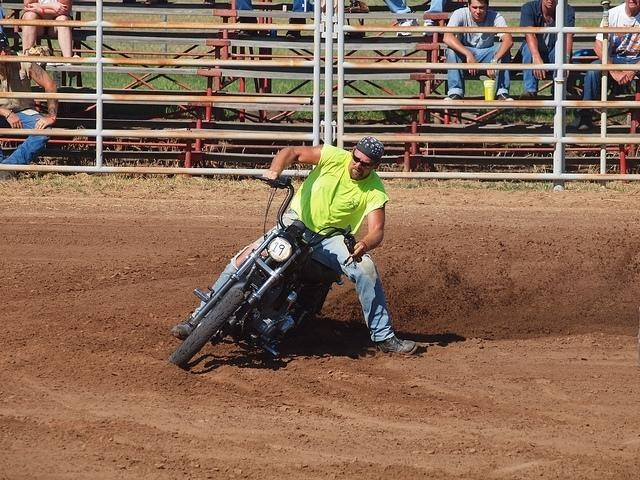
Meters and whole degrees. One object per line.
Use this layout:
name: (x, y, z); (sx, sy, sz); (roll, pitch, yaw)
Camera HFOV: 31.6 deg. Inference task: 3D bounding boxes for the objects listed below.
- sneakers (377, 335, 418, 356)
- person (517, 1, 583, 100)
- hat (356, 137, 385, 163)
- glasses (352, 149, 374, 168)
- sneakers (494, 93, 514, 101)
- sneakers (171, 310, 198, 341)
sneakers: (0.835, 1.097, 11.954); (0.401, 0.164, 0.184); (-3, 17, 0)
person: (3.367, -2.884, 16.846); (0.779, 1.479, 1.496); (4, 7, 11)
hat: (0.541, -0.901, 11.414); (0.214, 0.217, 0.284); (43, 11, 21)
glasses: (0.434, -0.809, 11.332); (0.186, 0.177, 0.059); (18, 34, 24)
sneakers: (2.740, -2.096, 16.546); (0.346, 0.124, 0.112); (6, 27, 17)
sneakers: (-1.350, 0.849, 11.476); (0.147, 0.211, 0.365); (10, 21, 27)
